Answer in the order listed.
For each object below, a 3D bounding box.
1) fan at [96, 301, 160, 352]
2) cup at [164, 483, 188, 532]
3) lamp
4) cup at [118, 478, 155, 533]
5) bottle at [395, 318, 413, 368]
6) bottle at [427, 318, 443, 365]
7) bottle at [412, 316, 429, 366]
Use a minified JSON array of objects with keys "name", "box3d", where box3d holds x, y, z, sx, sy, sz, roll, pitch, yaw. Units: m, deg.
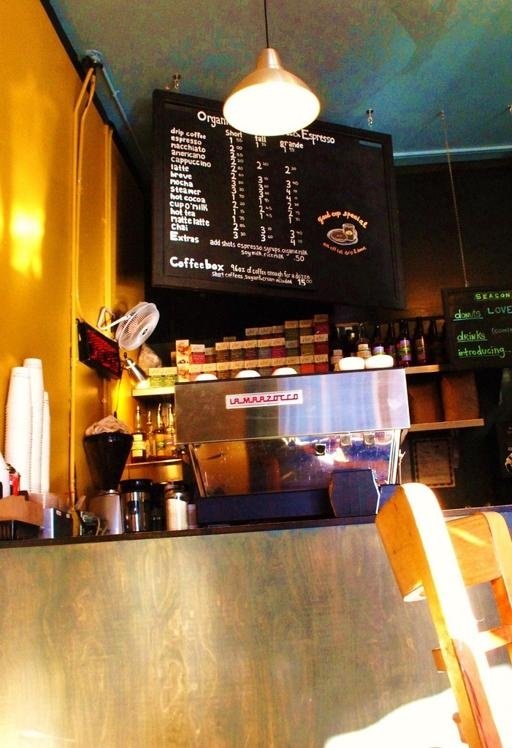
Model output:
[{"name":"fan","box3d":[-0.693,-0.234,3.126,0.361,0.195,0.262,-11,6,-43]},{"name":"cup","box3d":[-0.269,0.444,2.093,0.080,0.110,0.308,-7,5,-7]},{"name":"lamp","box3d":[0.040,-1.014,2.255,0.319,0.550,0.309,-1,-15,-2]},{"name":"cup","box3d":[-0.433,0.481,2.269,0.116,0.149,0.272,-7,4,-11]},{"name":"bottle","box3d":[0.846,-0.186,3.560,0.092,0.250,0.447,-6,5,14]},{"name":"bottle","box3d":[1.031,-0.203,3.580,0.092,0.243,0.449,-5,5,17]},{"name":"bottle","box3d":[0.930,-0.193,3.526,0.083,0.256,0.312,-5,4,16]}]
